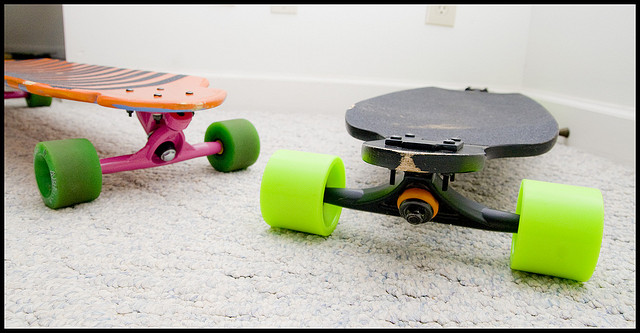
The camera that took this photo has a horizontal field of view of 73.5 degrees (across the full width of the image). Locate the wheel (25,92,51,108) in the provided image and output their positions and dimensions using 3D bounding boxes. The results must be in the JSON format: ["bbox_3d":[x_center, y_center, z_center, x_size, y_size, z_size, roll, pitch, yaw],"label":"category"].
[{"bbox_3d":[-2.000,-0.457,3.051,0.166,0.110,0.119,0,-4,-15],"label":"wheel"}]

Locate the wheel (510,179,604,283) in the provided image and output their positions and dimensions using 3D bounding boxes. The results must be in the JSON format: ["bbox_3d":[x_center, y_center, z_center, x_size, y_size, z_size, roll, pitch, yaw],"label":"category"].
[{"bbox_3d":[0.963,0.250,1.893,0.371,0.311,0.422,6,32,1],"label":"wheel"}]

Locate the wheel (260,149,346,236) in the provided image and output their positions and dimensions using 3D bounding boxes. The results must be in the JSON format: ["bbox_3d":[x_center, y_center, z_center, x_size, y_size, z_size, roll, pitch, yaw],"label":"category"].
[{"bbox_3d":[-0.087,0.116,2.157,0.435,0.426,0.448,5,18,-2],"label":"wheel"}]

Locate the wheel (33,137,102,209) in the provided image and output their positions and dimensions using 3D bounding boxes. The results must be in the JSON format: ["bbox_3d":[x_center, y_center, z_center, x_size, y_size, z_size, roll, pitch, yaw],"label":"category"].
[{"bbox_3d":[-1.245,0.027,2.114,0.274,0.303,0.239,-15,32,-30],"label":"wheel"}]
